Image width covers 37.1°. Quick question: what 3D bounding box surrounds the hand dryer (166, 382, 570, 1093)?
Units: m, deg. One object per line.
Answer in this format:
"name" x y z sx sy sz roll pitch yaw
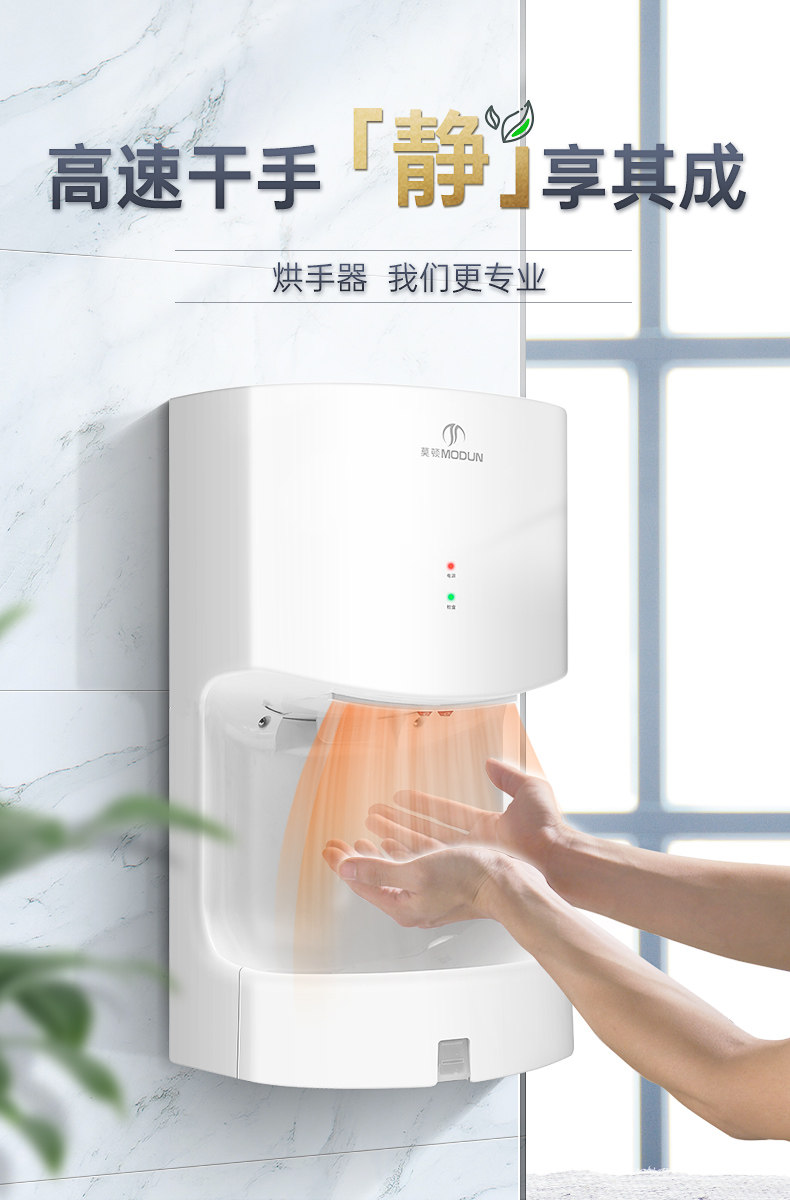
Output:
"hand dryer" -0.025 0.134 1.120 0.397 0.669 0.269 -1 14 -5
